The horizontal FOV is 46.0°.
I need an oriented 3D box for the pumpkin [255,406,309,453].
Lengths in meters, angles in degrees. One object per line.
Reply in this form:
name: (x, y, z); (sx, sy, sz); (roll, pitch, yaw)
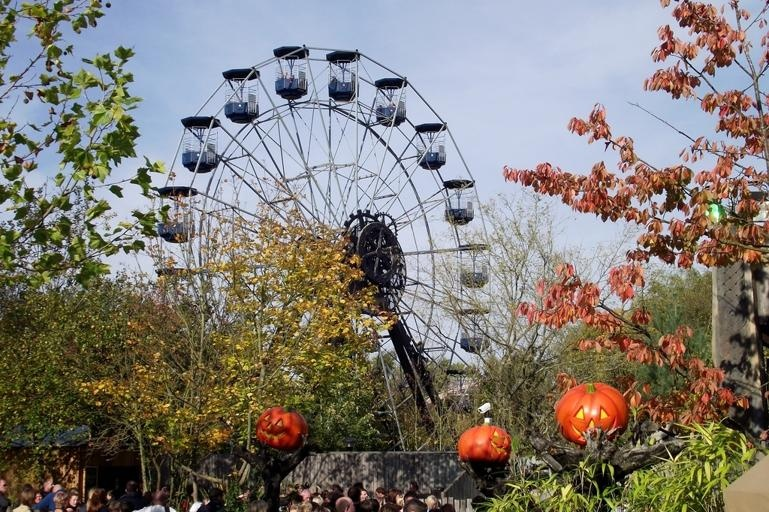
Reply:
pumpkin: (-1.809, 3.016, 16.082); (0.860, 0.868, 0.870); (13, -5, 8)

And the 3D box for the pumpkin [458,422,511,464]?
pumpkin: (1.635, 2.868, 13.983); (0.818, 0.788, 0.844); (3, -9, -17)

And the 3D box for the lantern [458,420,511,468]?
lantern: (1.565, 2.837, 13.943); (0.723, 0.752, 0.795); (-2, -8, -8)

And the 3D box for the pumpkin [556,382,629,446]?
pumpkin: (3.031, 2.294, 13.213); (0.971, 0.860, 1.024); (-3, 0, 27)

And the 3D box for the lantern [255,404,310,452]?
lantern: (-1.801, 2.975, 16.083); (0.890, 0.874, 0.888); (13, 0, -5)

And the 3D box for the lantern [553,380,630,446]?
lantern: (2.958, 2.240, 13.211); (0.871, 0.947, 1.530); (0, -17, 4)
